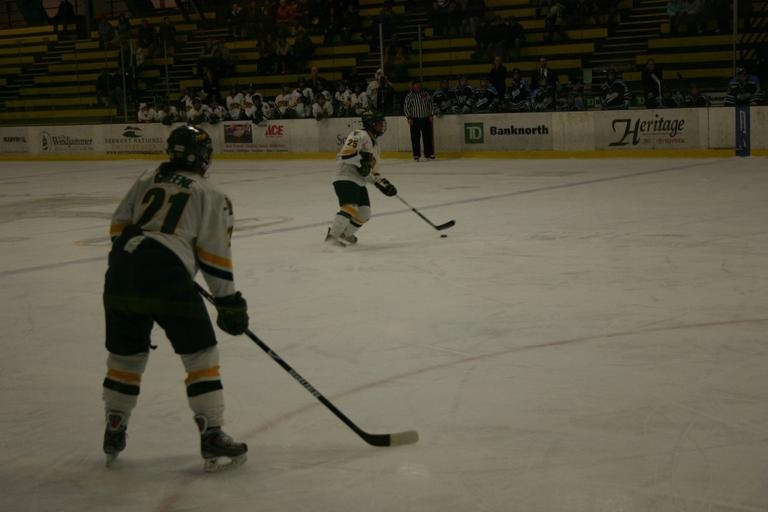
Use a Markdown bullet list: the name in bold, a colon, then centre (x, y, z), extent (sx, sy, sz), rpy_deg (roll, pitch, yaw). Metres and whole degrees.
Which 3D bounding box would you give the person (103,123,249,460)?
- **person**: centre (-1.116, 0.224, 3.509), extent (0.780, 1.697, 0.659), rpy_deg (-6, 15, -12)

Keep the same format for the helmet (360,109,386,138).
- **helmet**: centre (-0.141, -1.526, 7.959), extent (0.319, 0.307, 0.268), rpy_deg (-5, 22, -8)

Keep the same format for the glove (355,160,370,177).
- **glove**: centre (-0.224, -0.982, 7.758), extent (0.108, 0.151, 0.053), rpy_deg (14, 5, -6)

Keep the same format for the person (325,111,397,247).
- **person**: centre (-0.301, -0.881, 7.955), extent (0.792, 1.506, 0.699), rpy_deg (-2, 15, 2)

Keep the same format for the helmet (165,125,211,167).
- **helmet**: centre (-1.026, -0.573, 3.669), extent (0.247, 0.219, 0.194), rpy_deg (-11, 41, -39)

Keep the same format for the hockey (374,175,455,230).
- **hockey**: centre (0.451, -0.780, 10.337), extent (0.255, 1.434, 0.354), rpy_deg (-50, 0, -32)

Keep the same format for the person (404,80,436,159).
- **person**: centre (0.866, -3.238, 16.553), extent (0.677, 1.830, 0.346), rpy_deg (-7, 15, -17)
